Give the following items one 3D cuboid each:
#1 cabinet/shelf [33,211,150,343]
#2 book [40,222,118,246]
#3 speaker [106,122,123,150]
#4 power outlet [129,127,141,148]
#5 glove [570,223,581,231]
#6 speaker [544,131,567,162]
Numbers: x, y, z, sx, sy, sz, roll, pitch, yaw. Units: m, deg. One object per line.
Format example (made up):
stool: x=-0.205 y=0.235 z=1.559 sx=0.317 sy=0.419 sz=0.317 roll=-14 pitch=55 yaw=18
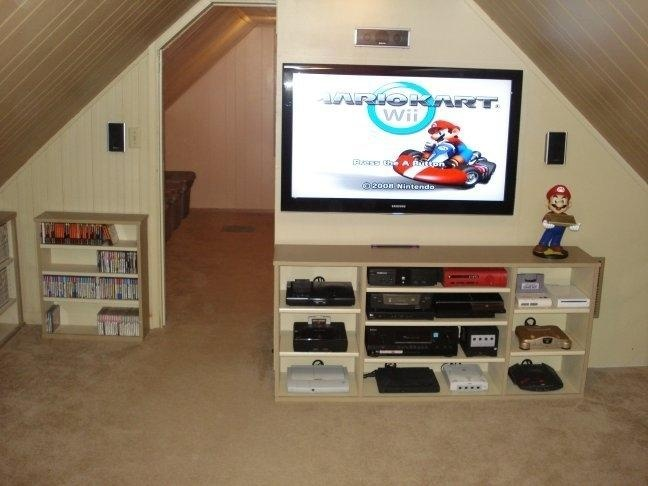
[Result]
cabinet/shelf: x=-1.881 y=0.250 z=4.684 sx=1.031 sy=1.251 sz=0.366 roll=0 pitch=6 yaw=-1
book: x=-1.980 y=-0.068 z=4.620 sx=0.565 sy=0.184 sz=0.192 roll=2 pitch=0 yaw=-6
speaker: x=-1.686 y=-0.853 z=4.663 sx=0.139 sy=0.237 sz=0.047 roll=2 pitch=7 yaw=9
power outlet: x=-1.545 y=-0.857 z=4.685 sx=0.101 sy=0.168 sz=0.024 roll=2 pitch=7 yaw=12
glove: x=1.743 y=-0.112 z=3.980 sx=0.060 sy=0.023 sz=0.082 roll=0 pitch=12 yaw=13
speaker: x=1.666 y=-0.681 z=4.095 sx=0.153 sy=0.212 sz=0.054 roll=0 pitch=8 yaw=-8
